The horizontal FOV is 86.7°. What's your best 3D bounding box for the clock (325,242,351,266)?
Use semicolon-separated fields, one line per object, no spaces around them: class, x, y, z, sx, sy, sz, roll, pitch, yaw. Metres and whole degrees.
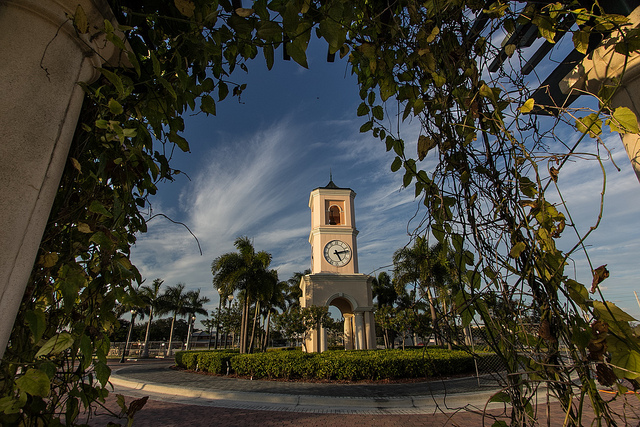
clock;1.088;2.614;21.495;1.531;1.582;0.203;0;-32;-9
